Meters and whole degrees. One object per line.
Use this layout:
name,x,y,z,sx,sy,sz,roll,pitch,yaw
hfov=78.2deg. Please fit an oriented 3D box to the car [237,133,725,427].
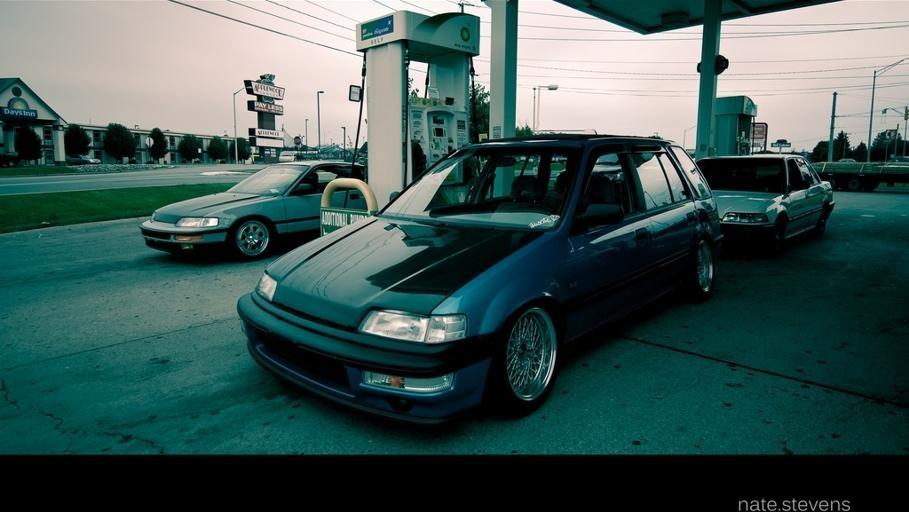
car,0.894,-0.168,7.098,5.781,1.888,2.952,-12,15,-41

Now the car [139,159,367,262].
car,-4.053,-0.984,11.103,4.683,1.286,1.970,-9,13,-43
